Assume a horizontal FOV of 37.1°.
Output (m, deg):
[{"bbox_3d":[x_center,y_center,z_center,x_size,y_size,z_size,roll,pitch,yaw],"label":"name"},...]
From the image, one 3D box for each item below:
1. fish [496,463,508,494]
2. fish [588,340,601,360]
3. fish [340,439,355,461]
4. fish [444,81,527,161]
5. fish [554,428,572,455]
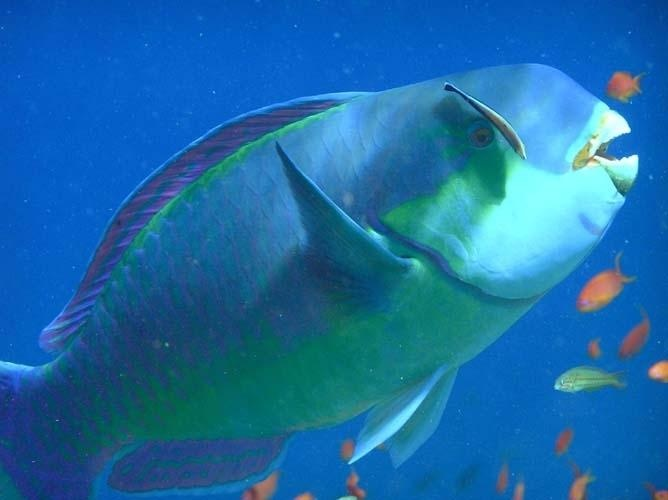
[{"bbox_3d":[1.147,1.544,6.735,0.034,0.179,0.084,14,-8,-28],"label":"fish"},{"bbox_3d":[1.777,0.670,6.824,0.080,0.121,0.051,-24,10,-8],"label":"fish"},{"bbox_3d":[0.083,1.274,6.367,0.097,0.154,0.041,-4,0,21],"label":"fish"},{"bbox_3d":[0.747,-0.616,4.862,0.070,0.412,0.086,-35,-14,-29],"label":"fish"},{"bbox_3d":[1.572,1.303,6.854,0.175,0.113,0.033,-55,15,-2],"label":"fish"}]
